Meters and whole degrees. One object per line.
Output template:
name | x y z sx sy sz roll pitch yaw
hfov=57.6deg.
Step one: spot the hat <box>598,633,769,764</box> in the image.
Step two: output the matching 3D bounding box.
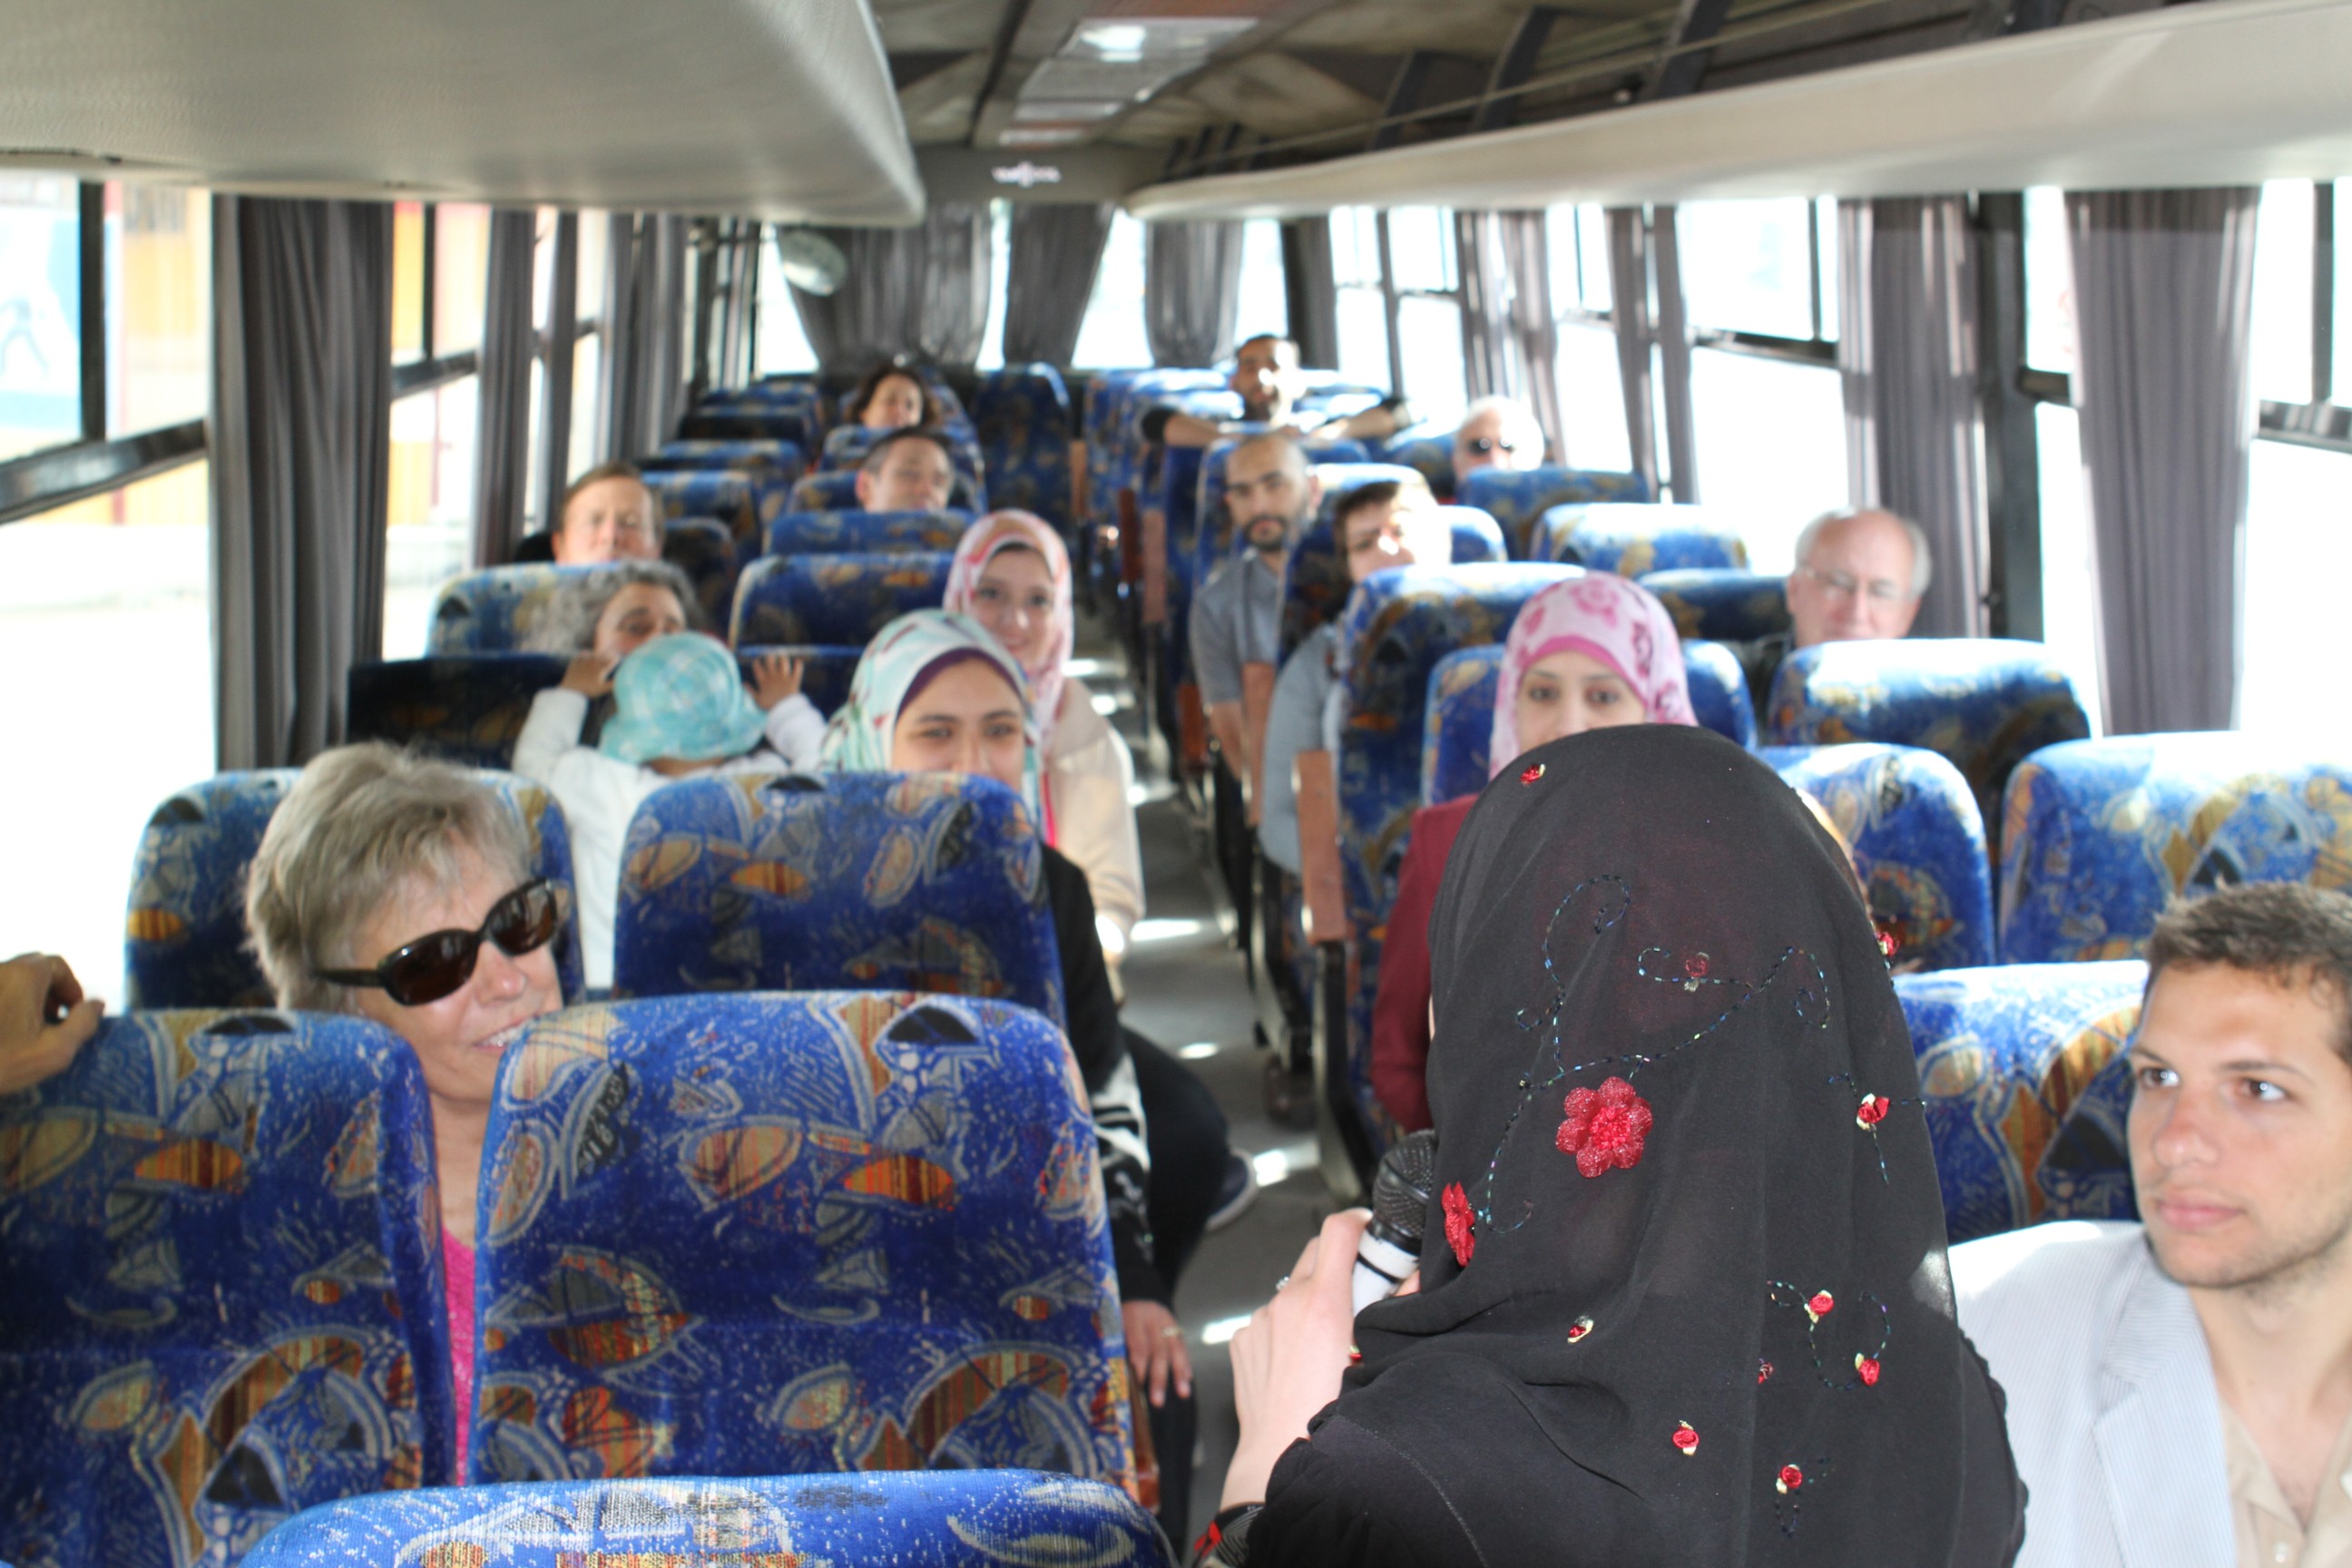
hat | -0.955 -0.179 4.147 0.273 0.156 0.237 5 12 9
